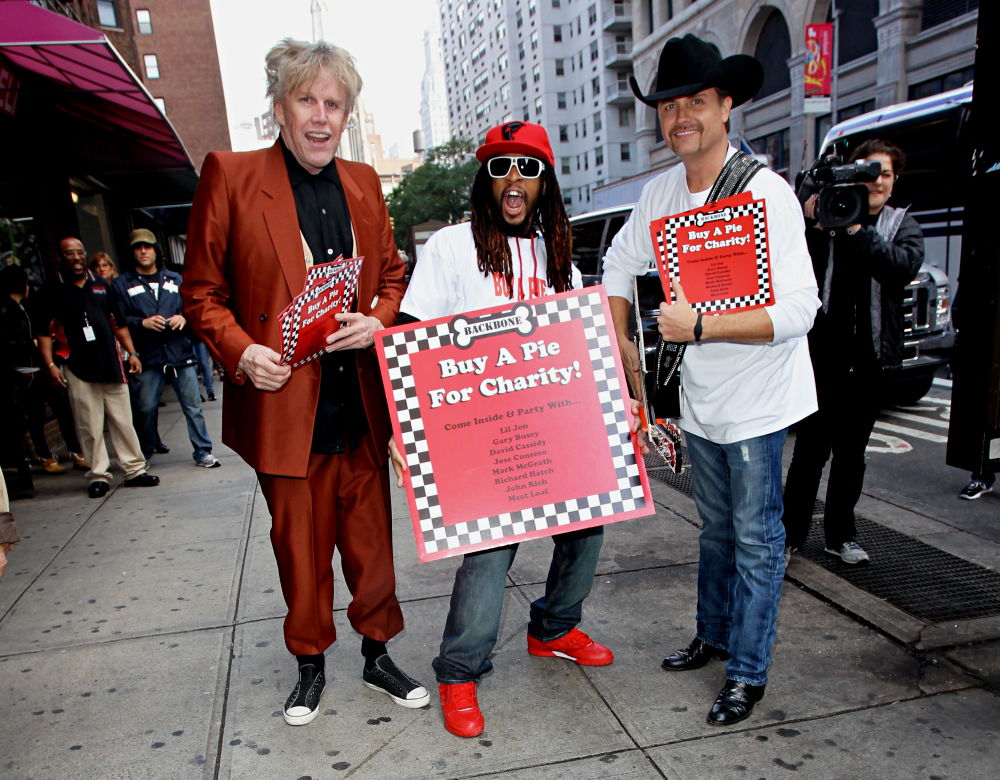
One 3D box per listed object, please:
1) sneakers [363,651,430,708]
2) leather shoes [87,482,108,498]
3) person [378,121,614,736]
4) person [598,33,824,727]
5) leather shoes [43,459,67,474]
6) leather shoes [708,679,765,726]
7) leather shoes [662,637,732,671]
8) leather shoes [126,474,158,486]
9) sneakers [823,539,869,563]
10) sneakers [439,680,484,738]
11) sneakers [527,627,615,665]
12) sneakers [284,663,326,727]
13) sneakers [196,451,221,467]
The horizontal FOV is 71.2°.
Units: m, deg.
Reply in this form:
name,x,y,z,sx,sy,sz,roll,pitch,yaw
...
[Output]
name,x,y,z,sx,sy,sz,roll,pitch,yaw
sneakers,-0.485,1.328,3.310,0.414,0.177,0.143,7,14,37
leather shoes,-3.755,0.923,6.515,0.114,0.125,0.197,-4,-22,-29
person,0.009,0.118,3.176,1.019,2.587,0.544,-10,13,-34
person,0.944,-0.097,3.170,0.717,2.910,0.813,-11,14,-35
leather shoes,-4.805,0.813,7.476,0.253,0.173,0.104,0,3,-16
leather shoes,1.051,1.324,3.069,0.329,0.138,0.117,-4,1,-41
leather shoes,0.997,1.283,3.449,0.372,0.147,0.130,0,-4,-9
leather shoes,-3.469,0.871,6.825,0.326,0.140,0.121,-1,-3,-2
sneakers,2.180,1.000,4.407,0.112,0.097,0.246,-10,-5,-14
sneakers,-0.174,1.368,3.050,0.191,0.197,0.185,-3,11,-1
sneakers,0.364,1.277,3.553,0.443,0.179,0.166,0,-6,12
sneakers,-0.889,1.363,3.124,0.108,0.128,0.319,2,0,1
sneakers,-3.120,0.741,7.499,0.131,0.131,0.280,4,-7,-39
